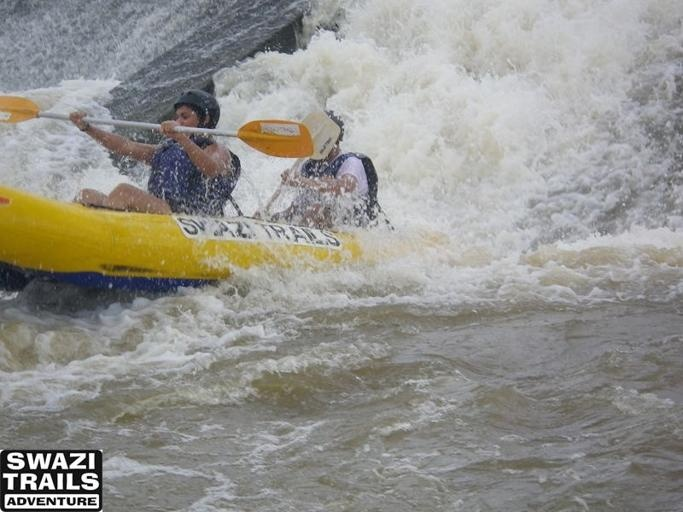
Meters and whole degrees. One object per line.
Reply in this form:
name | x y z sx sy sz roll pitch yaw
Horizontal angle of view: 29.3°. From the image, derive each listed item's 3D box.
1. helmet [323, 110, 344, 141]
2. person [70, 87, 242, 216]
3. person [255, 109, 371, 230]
helmet | -0.154 -1.486 14.743 0.125 0.240 0.331 -33 45 5
person | -2.101 -1.143 14.893 0.796 1.345 1.315 -41 28 30
person | -0.396 -0.944 14.960 1.071 0.716 1.590 22 49 -17
